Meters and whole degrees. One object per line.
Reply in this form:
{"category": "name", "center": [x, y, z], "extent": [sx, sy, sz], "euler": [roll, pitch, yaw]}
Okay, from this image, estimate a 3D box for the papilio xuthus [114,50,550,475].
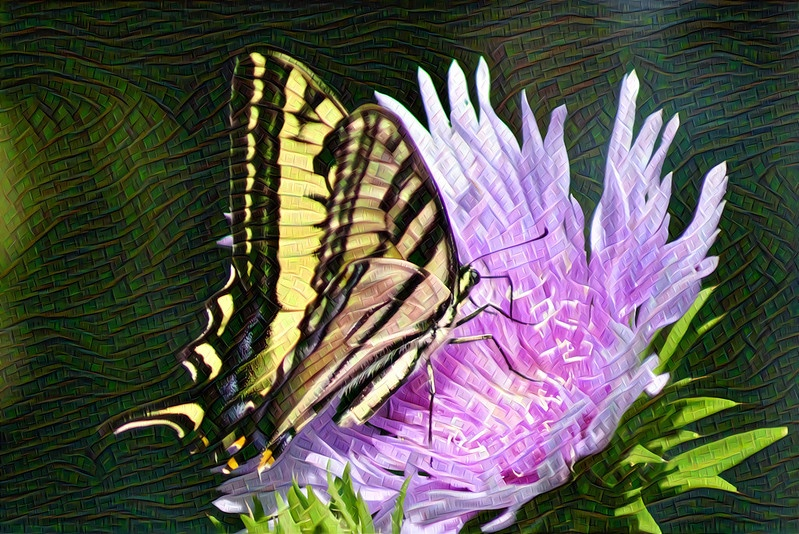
{"category": "papilio xuthus", "center": [-0.110, -0.047, 1.245], "extent": [0.645, 0.608, 0.453], "euler": [4, 23, 19]}
